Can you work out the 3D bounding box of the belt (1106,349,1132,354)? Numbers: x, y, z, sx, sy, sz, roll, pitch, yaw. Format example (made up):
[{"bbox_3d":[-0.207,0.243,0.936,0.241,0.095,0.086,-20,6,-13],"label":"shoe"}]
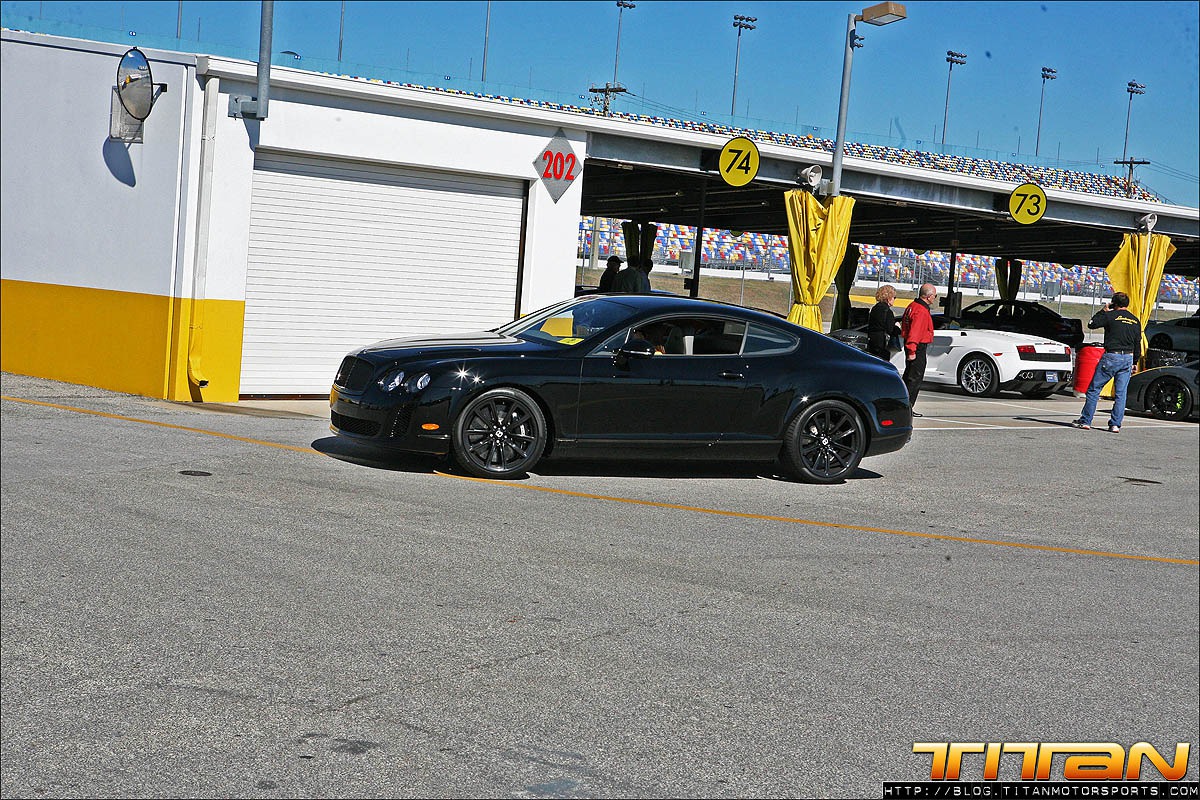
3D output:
[{"bbox_3d":[10.861,-0.970,17.289,0.556,0.111,0.065,4,7,-2],"label":"belt"}]
